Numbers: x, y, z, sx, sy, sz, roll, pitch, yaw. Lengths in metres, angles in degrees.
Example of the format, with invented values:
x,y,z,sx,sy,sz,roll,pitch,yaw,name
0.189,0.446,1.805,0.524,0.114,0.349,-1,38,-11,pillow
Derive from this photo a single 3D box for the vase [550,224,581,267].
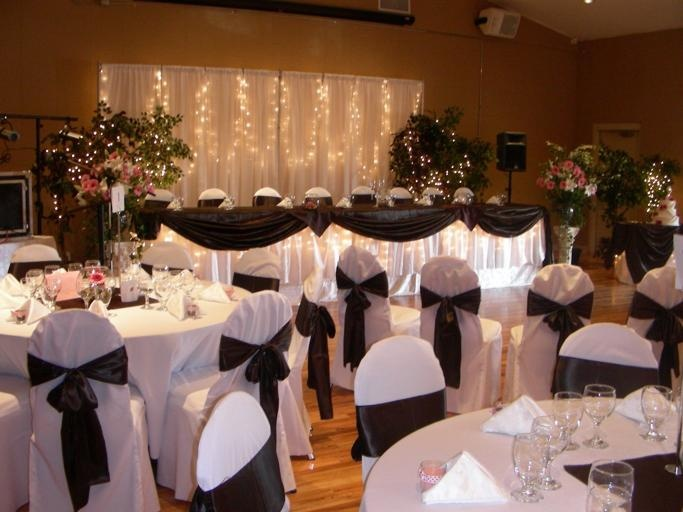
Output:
x,y,z,sx,sy,sz,roll,pitch,yaw,name
3.197,-0.242,8.145,0.392,0.707,0.401,6,36,24,vase

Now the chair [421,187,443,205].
x,y,z,sx,sy,sz,roll,pitch,yaw,name
1.302,-0.867,8.096,0.278,0.310,0.328,1,6,-2,chair

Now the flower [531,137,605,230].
x,y,z,sx,sy,sz,roll,pitch,yaw,name
3.233,-1.013,8.102,0.851,1.159,0.556,-4,8,-26,flower

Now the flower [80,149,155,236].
x,y,z,sx,sy,sz,roll,pitch,yaw,name
-1.543,-0.488,3.929,0.477,0.449,0.493,5,9,35,flower

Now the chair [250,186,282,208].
x,y,z,sx,sy,sz,roll,pitch,yaw,name
-1.081,-0.840,8.116,0.295,0.320,0.342,-1,7,-11,chair

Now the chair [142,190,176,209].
x,y,z,sx,sy,sz,roll,pitch,yaw,name
-2.090,-0.644,6.492,0.333,0.218,0.328,-10,17,-43,chair

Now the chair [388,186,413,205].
x,y,z,sx,sy,sz,roll,pitch,yaw,name
0.891,-0.887,8.317,0.313,0.304,0.358,-3,8,-15,chair

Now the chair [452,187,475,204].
x,y,z,sx,sy,sz,roll,pitch,yaw,name
1.765,-0.850,8.020,0.239,0.243,0.253,-4,9,-31,chair

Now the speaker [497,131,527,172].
x,y,z,sx,sy,sz,roll,pitch,yaw,name
2.935,-1.815,9.807,0.474,0.671,0.407,2,7,15,speaker

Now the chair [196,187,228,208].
x,y,z,sx,sy,sz,roll,pitch,yaw,name
-1.767,-0.799,7.758,0.363,0.465,0.421,-6,8,-17,chair

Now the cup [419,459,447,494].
x,y,z,sx,sy,sz,roll,pitch,yaw,name
0.332,0.799,2.045,0.103,0.075,0.125,0,8,3,cup
